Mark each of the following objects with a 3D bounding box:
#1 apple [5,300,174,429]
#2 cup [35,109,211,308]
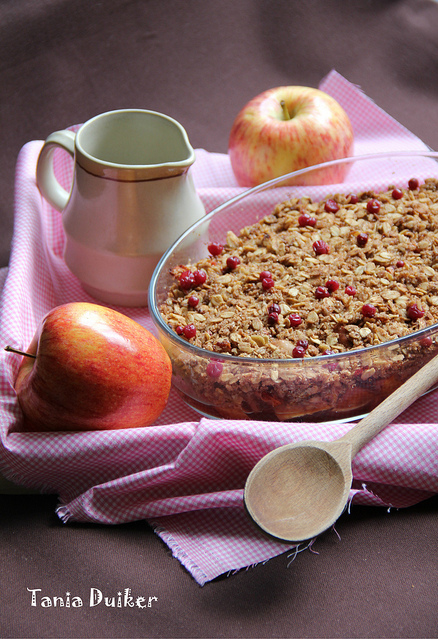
[{"bbox_3d":[-0.169,0.054,0.776,0.192,0.168,0.166,0,46,-14],"label":"apple"},{"bbox_3d":[-0.166,-0.176,0.987,0.291,0.243,0.205,18,41,14],"label":"cup"}]
